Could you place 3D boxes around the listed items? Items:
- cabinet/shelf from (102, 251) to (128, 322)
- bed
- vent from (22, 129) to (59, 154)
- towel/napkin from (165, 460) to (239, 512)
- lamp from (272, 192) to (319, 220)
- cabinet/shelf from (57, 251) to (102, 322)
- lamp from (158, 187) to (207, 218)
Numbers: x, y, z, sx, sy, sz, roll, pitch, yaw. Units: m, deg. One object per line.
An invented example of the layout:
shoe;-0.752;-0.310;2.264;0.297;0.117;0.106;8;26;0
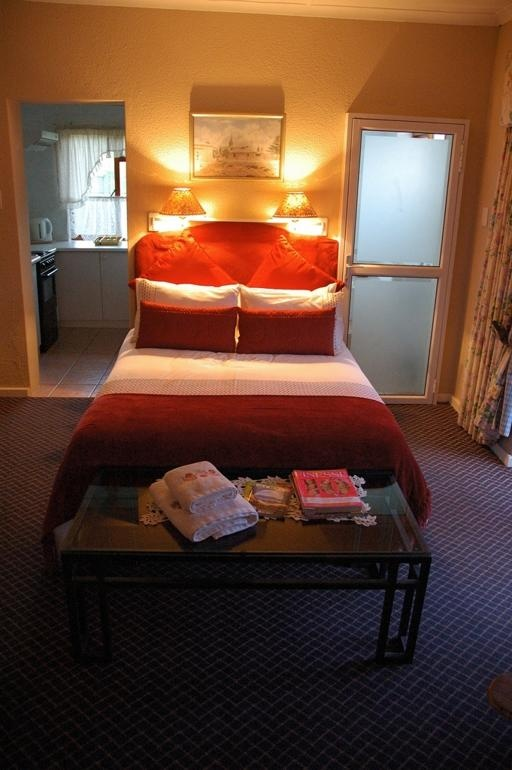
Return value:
cabinet/shelf;-1.599;-1.059;6.217;0.382;0.902;0.118;3;5;22
bed;-0.117;-0.147;3.225;1.511;1.071;2.490;-2;17;-4
vent;-2.331;-2.650;6.064;0.327;0.224;0.516;1;15;-8
towel/napkin;-0.180;0.318;1.796;0.186;0.062;0.214;-9;25;-32
lamp;0.253;-1.164;3.737;0.226;0.134;0.225;0;23;1
cabinet/shelf;-1.999;-1.071;6.378;0.509;0.883;0.525;-7;15;-27
lamp;-0.476;-1.162;3.601;0.229;0.130;0.227;-1;19;-1
